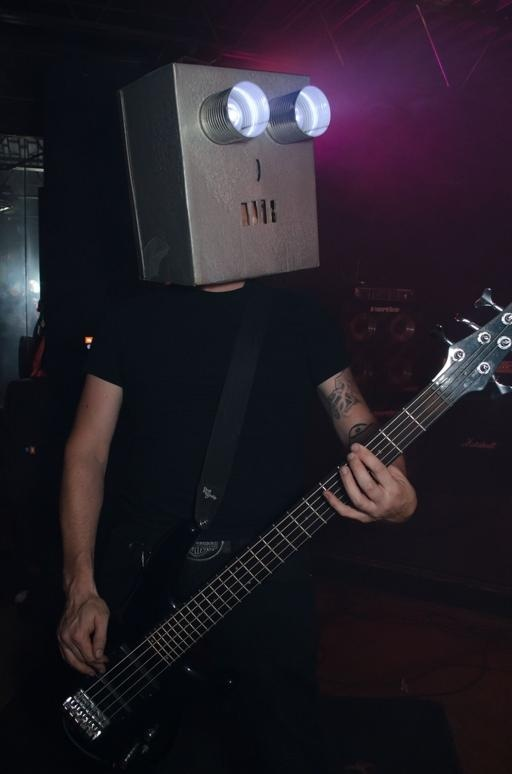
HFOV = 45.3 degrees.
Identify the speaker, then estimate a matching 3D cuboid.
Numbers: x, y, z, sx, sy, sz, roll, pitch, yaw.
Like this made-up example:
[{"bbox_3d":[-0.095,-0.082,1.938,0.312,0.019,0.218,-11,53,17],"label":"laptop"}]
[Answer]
[{"bbox_3d":[0.735,-0.218,3.673,0.452,0.802,0.452,4,27,14],"label":"speaker"}]
